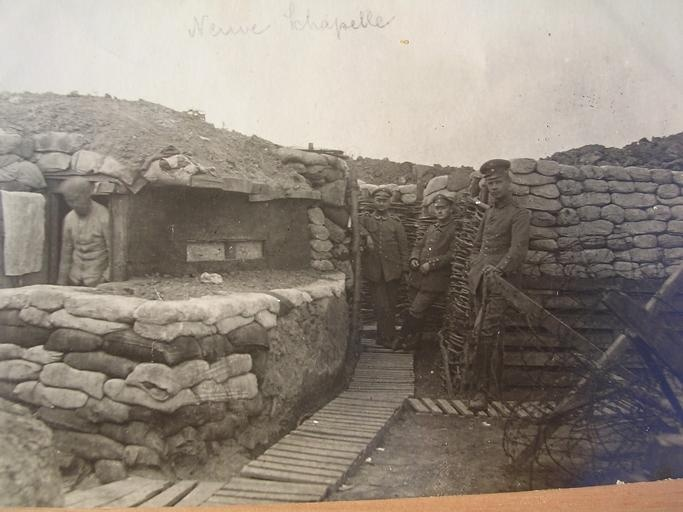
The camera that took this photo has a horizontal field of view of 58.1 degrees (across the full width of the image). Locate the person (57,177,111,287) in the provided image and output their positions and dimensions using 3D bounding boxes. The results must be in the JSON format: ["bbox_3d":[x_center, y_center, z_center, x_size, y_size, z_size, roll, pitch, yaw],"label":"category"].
[{"bbox_3d":[-1.716,-0.161,4.162,0.171,0.728,0.386,1,3,30],"label":"person"}]

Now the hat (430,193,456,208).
[{"bbox_3d":[1.027,-0.559,6.038,0.129,0.124,0.327,-3,3,-38],"label":"hat"}]

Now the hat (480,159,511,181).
[{"bbox_3d":[1.017,-0.579,4.061,0.244,0.116,0.295,-3,7,26],"label":"hat"}]

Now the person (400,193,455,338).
[{"bbox_3d":[0.894,0.131,6.310,0.343,1.472,0.761,-2,3,-25],"label":"person"}]

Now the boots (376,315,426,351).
[{"bbox_3d":[0.696,0.826,6.465,0.570,0.416,0.215,-4,-17,21],"label":"boots"}]
